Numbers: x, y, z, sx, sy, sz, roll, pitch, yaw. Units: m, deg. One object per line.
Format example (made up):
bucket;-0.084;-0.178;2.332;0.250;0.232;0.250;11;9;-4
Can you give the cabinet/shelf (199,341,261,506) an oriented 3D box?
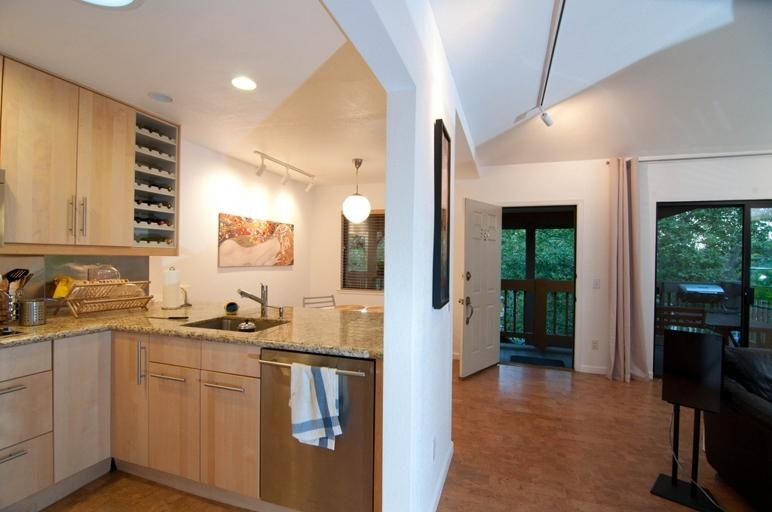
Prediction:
cabinet/shelf;-1.256;1.308;4.120;0.563;1.152;0.298;4;15;13

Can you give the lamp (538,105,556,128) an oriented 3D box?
lamp;1.826;-1.566;5.784;0.144;0.183;0.547;5;15;17

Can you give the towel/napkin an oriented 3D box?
towel/napkin;-0.538;1.146;3.893;0.363;0.588;0.235;-1;14;-6

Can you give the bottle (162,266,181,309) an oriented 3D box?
bottle;-2.126;0.328;5.036;0.164;0.363;0.205;-5;15;-21
